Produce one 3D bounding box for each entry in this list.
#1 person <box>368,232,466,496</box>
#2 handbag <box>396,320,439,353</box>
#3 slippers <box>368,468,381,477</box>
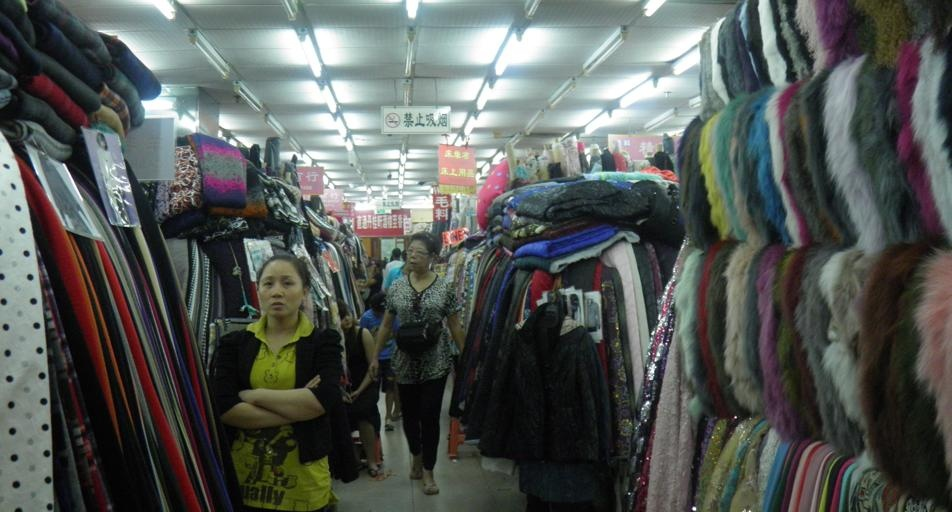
[{"bbox_3d":[-0.348,0.645,4.222,0.415,1.611,0.503,6,-15,-30],"label":"person"},{"bbox_3d":[-0.340,0.491,4.059,0.255,0.177,0.147,1,-13,-8],"label":"handbag"},{"bbox_3d":[-0.641,1.391,4.333,0.054,0.032,0.070,0,-7,1],"label":"slippers"}]
